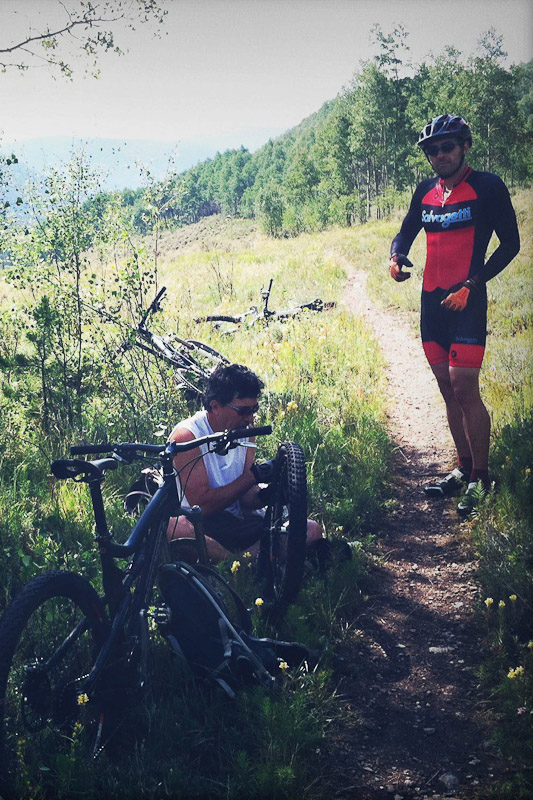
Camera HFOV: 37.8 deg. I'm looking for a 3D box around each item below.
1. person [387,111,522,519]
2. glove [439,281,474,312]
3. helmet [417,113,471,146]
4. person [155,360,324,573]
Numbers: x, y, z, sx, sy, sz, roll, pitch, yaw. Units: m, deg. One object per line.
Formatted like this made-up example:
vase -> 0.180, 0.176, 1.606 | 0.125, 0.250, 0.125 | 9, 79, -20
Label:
person -> 1.359, -0.461, 5.670 | 0.442, 2.482, 1.061 | -6, 11, -25
glove -> 1.316, -0.713, 5.368 | 0.112, 0.207, 0.218 | -6, 12, -27
helmet -> 1.227, -1.872, 5.376 | 0.350, 0.228, 0.317 | 1, 11, 9
person -> -0.147, 0.416, 4.844 | 0.752, 0.870, 1.320 | -11, -6, -17
